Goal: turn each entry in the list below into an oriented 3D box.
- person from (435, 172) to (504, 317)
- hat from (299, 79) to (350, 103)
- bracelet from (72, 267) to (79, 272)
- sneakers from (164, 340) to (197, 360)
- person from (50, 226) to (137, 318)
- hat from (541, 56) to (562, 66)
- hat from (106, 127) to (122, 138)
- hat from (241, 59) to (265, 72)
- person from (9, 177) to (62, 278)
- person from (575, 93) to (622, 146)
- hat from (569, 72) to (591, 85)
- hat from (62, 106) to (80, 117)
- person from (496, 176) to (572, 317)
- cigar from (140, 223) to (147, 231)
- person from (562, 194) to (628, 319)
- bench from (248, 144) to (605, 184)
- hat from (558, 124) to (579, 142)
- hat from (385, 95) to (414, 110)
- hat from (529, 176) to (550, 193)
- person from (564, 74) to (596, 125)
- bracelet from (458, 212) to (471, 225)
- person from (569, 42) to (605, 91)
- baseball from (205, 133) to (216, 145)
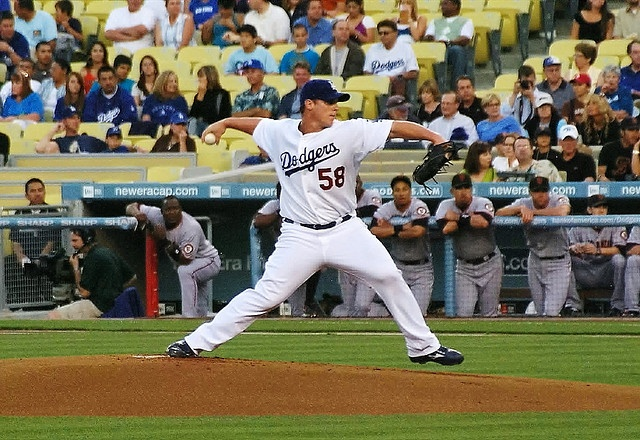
[{"bbox_3d":[2.252,0.659,23.562,0.878,2.511,0.754,1,22,19],"label":"person"},{"bbox_3d":[0.055,-1.579,19.324,0.456,0.231,0.302,1,10,4],"label":"hat"},{"bbox_3d":[-3.734,0.740,24.041,0.083,0.052,0.080,-16,-16,41],"label":"bracelet"},{"bbox_3d":[-1.692,1.588,19.223,0.319,0.171,0.195,14,4,4],"label":"sneakers"},{"bbox_3d":[-3.539,0.941,24.037,1.374,1.702,0.857,1,4,-11],"label":"person"},{"bbox_3d":[3.842,-2.613,25.966,0.324,0.191,0.471,-1,2,3],"label":"hat"},{"bbox_3d":[-3.436,-1.484,26.209,0.226,0.168,0.368,5,-6,-7],"label":"hat"},{"bbox_3d":[-1.100,-2.557,26.002,0.319,0.191,0.423,-1,0,-5],"label":"hat"},{"bbox_3d":[-4.461,0.103,24.636,0.801,1.542,0.839,-1,0,-12],"label":"person"},{"bbox_3d":[4.384,-1.505,24.728,0.786,0.896,0.439,-5,-14,18],"label":"person"},{"bbox_3d":[4.187,-2.251,25.164,0.303,0.183,0.403,-1,0,7],"label":"hat"},{"bbox_3d":[-4.227,-1.811,26.557,0.284,0.162,0.201,-3,3,40],"label":"hat"},{"bbox_3d":[3.294,0.383,23.347,0.864,2.017,0.404,-1,0,9],"label":"person"},{"bbox_3d":[-2.692,0.089,24.014,0.076,0.106,0.031,-2,16,7],"label":"cigar"},{"bbox_3d":[4.116,0.501,23.360,1.109,1.900,1.123,5,-6,-42],"label":"person"},{"bbox_3d":[1.726,-0.790,22.397,3.222,0.554,0.676,-1,-4,2],"label":"bench"},{"bbox_3d":[3.783,-1.332,23.952,0.274,0.239,0.372,-1,0,4],"label":"hat"},{"bbox_3d":[1.257,-1.898,25.455,0.323,0.173,0.222,-4,8,2],"label":"hat"},{"bbox_3d":[3.259,-0.535,23.325,0.296,0.235,0.269,-1,0,7],"label":"hat"},{"bbox_3d":[4.105,-1.901,25.016,0.457,0.802,0.402,-6,-16,12],"label":"person"},{"bbox_3d":[2.147,-0.019,23.297,0.137,0.141,0.133,-1,3,-1],"label":"bracelet"},{"bbox_3d":[4.380,-2.541,25.924,0.379,0.796,0.560,-8,19,-15],"label":"person"},{"bbox_3d":[-1.410,-1.041,20.234,0.127,0.152,0.129,26,14,38],"label":"baseball"}]
